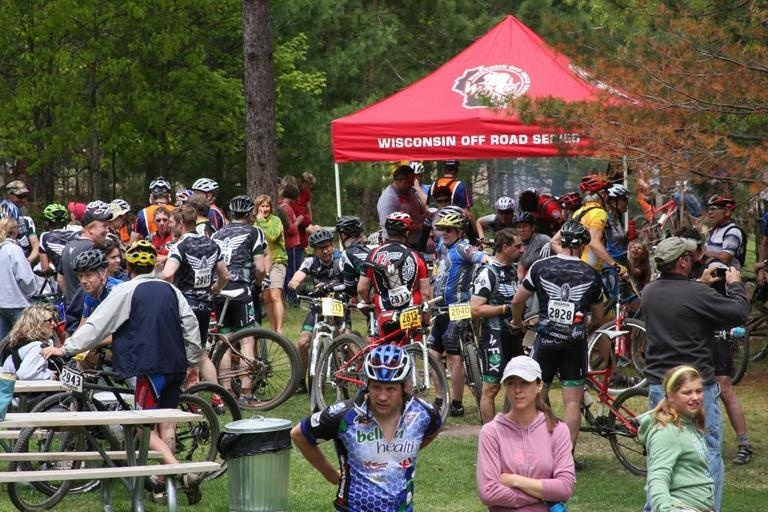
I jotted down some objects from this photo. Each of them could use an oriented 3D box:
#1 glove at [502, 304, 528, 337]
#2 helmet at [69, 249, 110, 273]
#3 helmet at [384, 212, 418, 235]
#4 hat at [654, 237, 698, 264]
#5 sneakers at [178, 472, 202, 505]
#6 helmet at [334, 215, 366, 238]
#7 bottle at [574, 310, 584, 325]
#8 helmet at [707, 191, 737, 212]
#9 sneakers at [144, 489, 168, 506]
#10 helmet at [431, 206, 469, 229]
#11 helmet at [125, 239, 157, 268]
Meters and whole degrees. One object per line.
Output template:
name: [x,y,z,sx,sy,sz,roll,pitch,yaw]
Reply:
glove: [1.983,0.957,20.397,0.364,0.468,0.239,0,-2,1]
helmet: [-4.096,0.019,18.613,0.294,0.149,0.411,8,15,22]
helmet: [0.266,-0.508,21.010,0.312,0.270,0.426,2,-13,26]
hat: [3.984,-0.081,18.299,0.499,0.201,0.329,-22,23,-11]
sneakers: [-2.654,3.194,18.547,0.181,0.506,0.219,-5,7,-8]
helmet: [-0.621,-0.496,21.623,0.302,0.230,0.374,2,-10,-43]
bottle: [2.809,0.872,19.318,0.123,0.153,0.177,3,-9,0]
helmet: [5.835,-0.971,23.072,0.384,0.236,0.283,4,-7,7]
sneakers: [-3.146,3.319,18.541,0.422,0.179,0.153,13,-5,4]
helmet: [1.163,-0.653,21.327,0.524,0.272,0.352,6,-5,-35]
helmet: [-3.349,-0.047,18.533,0.294,0.319,0.403,4,-10,-36]
